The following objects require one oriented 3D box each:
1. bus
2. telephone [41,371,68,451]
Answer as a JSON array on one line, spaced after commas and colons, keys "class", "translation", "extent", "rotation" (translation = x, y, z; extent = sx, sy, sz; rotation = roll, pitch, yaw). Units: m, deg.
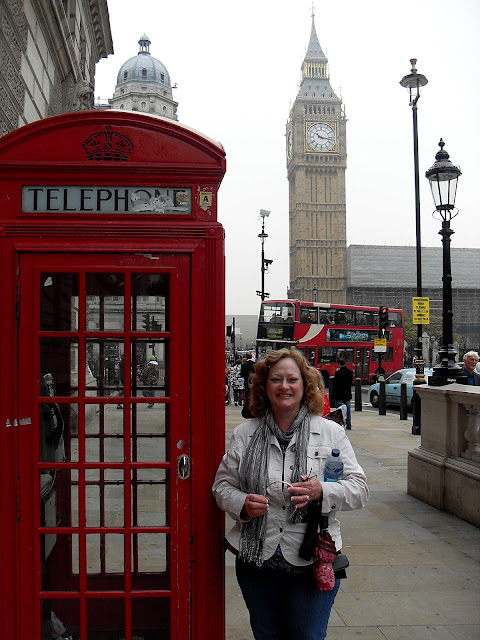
[{"class": "bus", "translation": [4.389, 0.875, 33.265], "extent": [8.728, 5.391, 3.287], "rotation": [4, -3, -35]}, {"class": "telephone", "translation": [-0.841, 0.415, 3.307], "extent": [0.090, 0.289, 0.189], "rotation": [-3, 6, -22]}]
